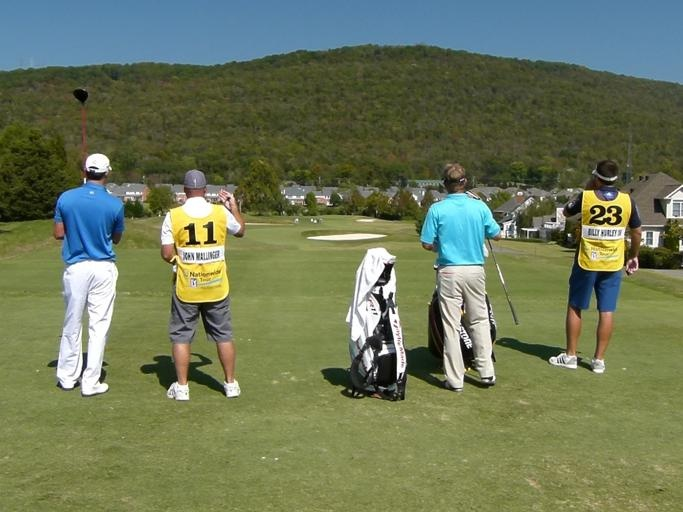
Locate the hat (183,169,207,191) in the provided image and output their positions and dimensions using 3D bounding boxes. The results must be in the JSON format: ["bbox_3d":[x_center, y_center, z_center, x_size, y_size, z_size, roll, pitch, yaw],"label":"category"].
[{"bbox_3d":[-1.541,-0.829,8.251,0.179,0.147,0.257,-3,17,-15],"label":"hat"}]

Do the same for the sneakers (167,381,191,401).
[{"bbox_3d":[-1.675,1.375,8.085,0.238,0.193,0.228,0,11,-5],"label":"sneakers"}]

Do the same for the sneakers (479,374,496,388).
[{"bbox_3d":[1.624,1.371,8.673,0.169,0.147,0.184,3,11,11],"label":"sneakers"}]

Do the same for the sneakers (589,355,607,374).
[{"bbox_3d":[3.008,1.281,9.202,0.172,0.183,0.467,0,-5,5],"label":"sneakers"}]

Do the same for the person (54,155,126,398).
[{"bbox_3d":[-2.679,0.155,8.275,0.676,2.441,0.966,-1,11,-7],"label":"person"}]

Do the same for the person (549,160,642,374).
[{"bbox_3d":[3.043,0.093,9.370,0.866,2.506,1.029,6,12,25],"label":"person"}]

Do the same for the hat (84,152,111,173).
[{"bbox_3d":[-2.634,-1.041,8.547,0.208,0.159,0.280,0,27,-8],"label":"hat"}]

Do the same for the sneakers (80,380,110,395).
[{"bbox_3d":[-2.555,1.345,8.139,0.296,0.187,0.107,-6,43,-21],"label":"sneakers"}]

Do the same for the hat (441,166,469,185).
[{"bbox_3d":[1.258,-0.934,8.772,0.190,0.235,0.246,0,16,-1],"label":"hat"}]

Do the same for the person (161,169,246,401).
[{"bbox_3d":[-1.438,0.281,8.214,0.847,2.360,0.821,-1,11,-9],"label":"person"}]

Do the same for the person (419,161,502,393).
[{"bbox_3d":[1.369,0.219,8.684,0.779,2.466,0.885,-10,15,-43],"label":"person"}]

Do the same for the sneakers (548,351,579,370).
[{"bbox_3d":[2.659,1.249,9.437,0.337,0.152,0.157,7,8,42],"label":"sneakers"}]

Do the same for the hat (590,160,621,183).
[{"bbox_3d":[3.142,-1.036,9.340,0.291,0.277,0.380,4,12,17],"label":"hat"}]
